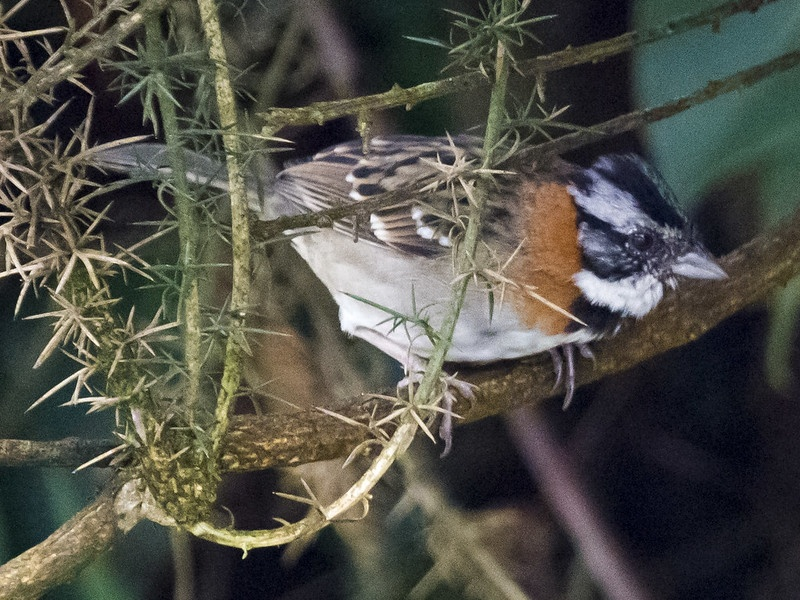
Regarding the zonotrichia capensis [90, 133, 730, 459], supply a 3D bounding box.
[{"bbox_3d":[0.087,-0.091,1.754,0.844,0.583,0.441,-21,57,-4],"label":"zonotrichia capensis"}]
